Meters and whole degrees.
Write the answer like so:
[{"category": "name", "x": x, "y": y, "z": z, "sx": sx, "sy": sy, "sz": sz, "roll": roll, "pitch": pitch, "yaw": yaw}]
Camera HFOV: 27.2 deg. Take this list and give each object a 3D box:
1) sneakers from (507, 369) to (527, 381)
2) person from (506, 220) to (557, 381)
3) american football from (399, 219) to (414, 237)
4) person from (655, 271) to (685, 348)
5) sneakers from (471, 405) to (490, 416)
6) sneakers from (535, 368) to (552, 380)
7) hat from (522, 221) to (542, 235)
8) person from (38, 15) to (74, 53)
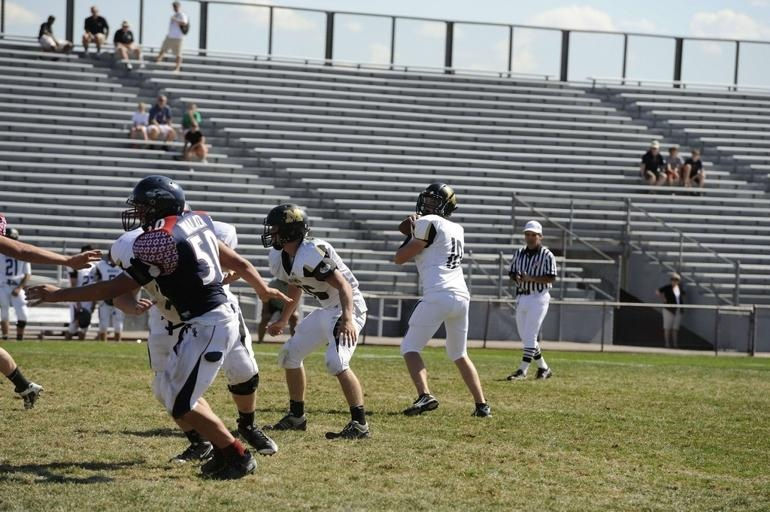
[{"category": "sneakers", "x": 2.553, "y": 2.276, "z": 30.675, "sx": 0.466, "sy": 0.176, "sz": 0.160, "roll": -2, "pitch": 6, "yaw": -37}, {"category": "person", "x": 2.862, "y": 0.857, "z": 30.930, "sx": 0.887, "sy": 2.978, "sz": 0.961, "roll": 2, "pitch": 0, "yaw": 4}, {"category": "american football", "x": 0.428, "y": -0.519, "z": 28.572, "sx": 0.246, "sy": 0.259, "sz": 0.295, "roll": 10, "pitch": 11, "yaw": -19}, {"category": "person", "x": 6.588, "y": 1.237, "z": 36.604, "sx": 0.552, "sy": 1.678, "sz": 1.600, "roll": 2, "pitch": 0, "yaw": 10}, {"category": "sneakers", "x": 1.776, "y": 2.726, "z": 28.302, "sx": 0.386, "sy": 0.241, "sz": 0.209, "roll": 2, "pitch": 0, "yaw": -30}, {"category": "sneakers", "x": 3.097, "y": 2.268, "z": 30.925, "sx": 0.142, "sy": 0.159, "sz": 0.388, "roll": -8, "pitch": 1, "yaw": 42}, {"category": "hat", "x": 2.951, "y": -0.572, "z": 31.193, "sx": 0.331, "sy": 0.258, "sz": 0.478, "roll": 7, "pitch": -12, "yaw": 23}, {"category": "person", "x": -8.583, "y": -5.651, "z": 41.284, "sx": 0.830, "sy": 1.172, "sz": 0.821, "roll": 5, "pitch": -10, "yaw": -31}]
